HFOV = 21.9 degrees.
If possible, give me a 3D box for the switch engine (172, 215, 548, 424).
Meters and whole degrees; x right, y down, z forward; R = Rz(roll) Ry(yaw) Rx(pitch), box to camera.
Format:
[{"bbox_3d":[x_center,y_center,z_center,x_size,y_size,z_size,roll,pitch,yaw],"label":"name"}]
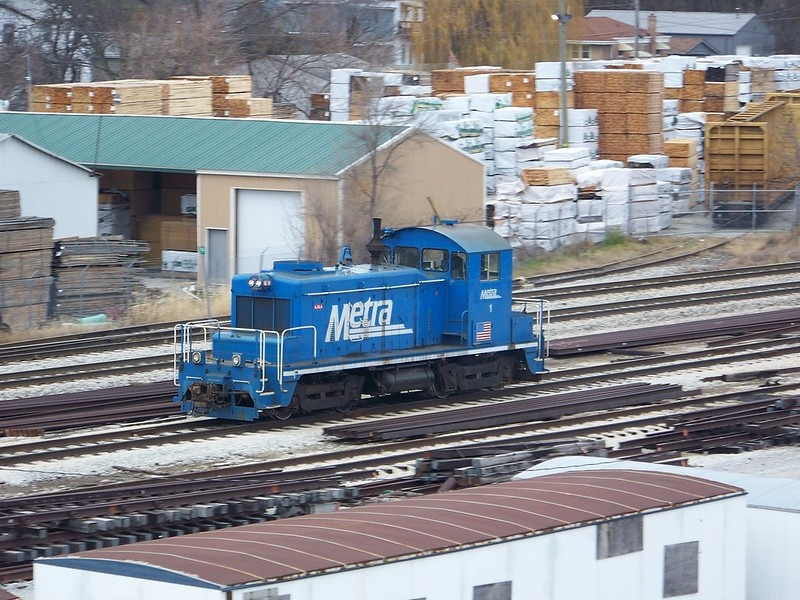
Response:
[{"bbox_3d":[-1.006,0.677,57.493,8.849,2.877,2.709,-5,8,-35],"label":"switch engine"}]
